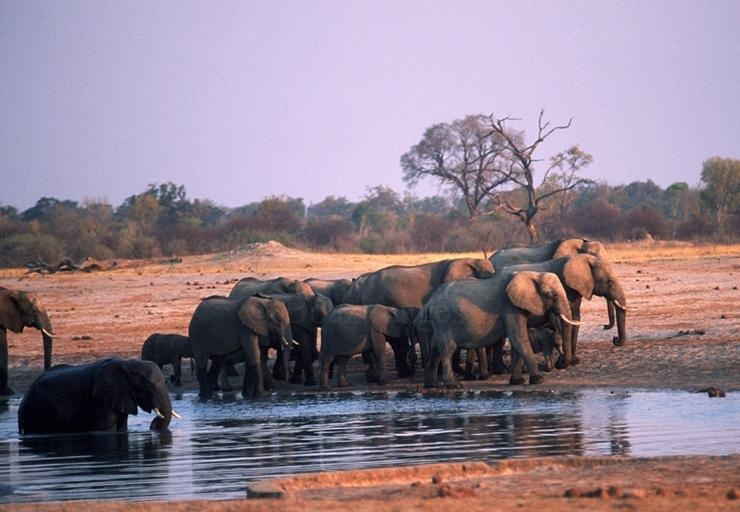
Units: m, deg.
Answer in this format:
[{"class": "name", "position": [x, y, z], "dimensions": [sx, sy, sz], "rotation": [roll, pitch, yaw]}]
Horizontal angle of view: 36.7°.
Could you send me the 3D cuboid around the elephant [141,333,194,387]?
[{"class": "elephant", "position": [-4.286, 2.104, 24.318], "dimensions": [1.500, 1.016, 0.678], "rotation": [2, 1, 11]}]
